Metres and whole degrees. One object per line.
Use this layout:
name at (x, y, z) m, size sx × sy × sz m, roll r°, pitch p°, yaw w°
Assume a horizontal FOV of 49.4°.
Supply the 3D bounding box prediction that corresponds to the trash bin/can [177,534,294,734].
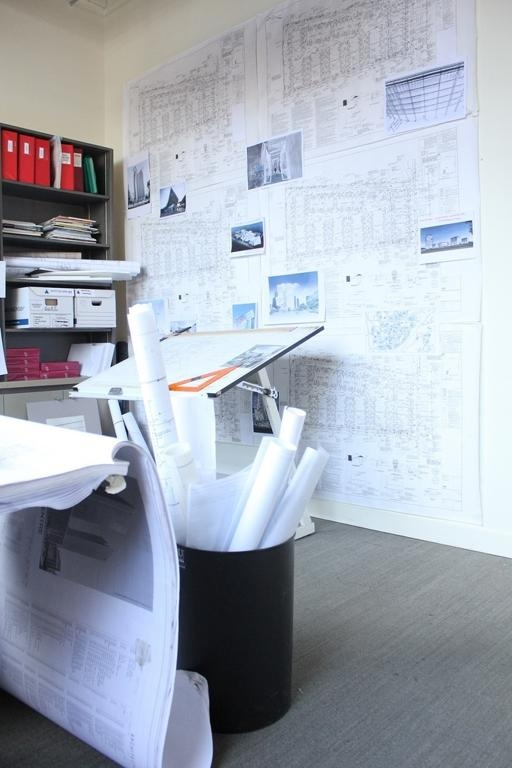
trash bin/can at (-0.053, 0.430, 1.013) m, size 0.219 × 0.283 × 0.243 m, roll 3°, pitch -12°, yaw 0°
